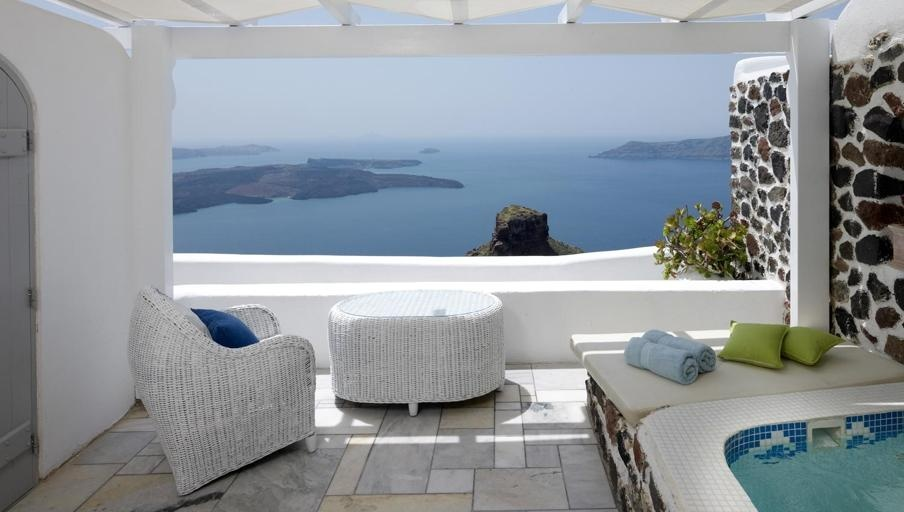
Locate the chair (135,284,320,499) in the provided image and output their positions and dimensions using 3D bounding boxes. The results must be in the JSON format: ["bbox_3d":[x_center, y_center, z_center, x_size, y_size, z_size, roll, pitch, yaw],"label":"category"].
[{"bbox_3d":[-2.067,0.930,5.153,1.461,1.429,1.390,-5,14,-27],"label":"chair"}]

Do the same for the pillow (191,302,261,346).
[{"bbox_3d":[-1.888,0.576,4.771,0.558,0.447,0.299,-1,-2,11],"label":"pillow"}]
